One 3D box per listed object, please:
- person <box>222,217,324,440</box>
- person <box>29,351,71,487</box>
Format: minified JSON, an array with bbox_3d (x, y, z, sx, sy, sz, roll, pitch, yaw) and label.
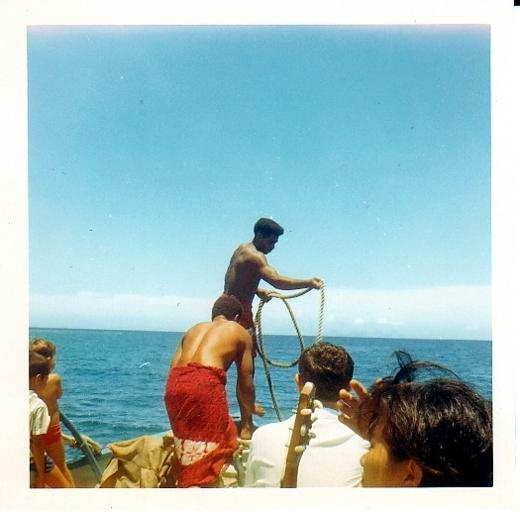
[{"bbox_3d":[0.049,0.604,6.782,0.732,1.937,1.038,-1,6,-41],"label":"person"},{"bbox_3d":[-1.539,1.188,5.090,0.279,1.000,0.777,-1,-8,-19],"label":"person"}]
